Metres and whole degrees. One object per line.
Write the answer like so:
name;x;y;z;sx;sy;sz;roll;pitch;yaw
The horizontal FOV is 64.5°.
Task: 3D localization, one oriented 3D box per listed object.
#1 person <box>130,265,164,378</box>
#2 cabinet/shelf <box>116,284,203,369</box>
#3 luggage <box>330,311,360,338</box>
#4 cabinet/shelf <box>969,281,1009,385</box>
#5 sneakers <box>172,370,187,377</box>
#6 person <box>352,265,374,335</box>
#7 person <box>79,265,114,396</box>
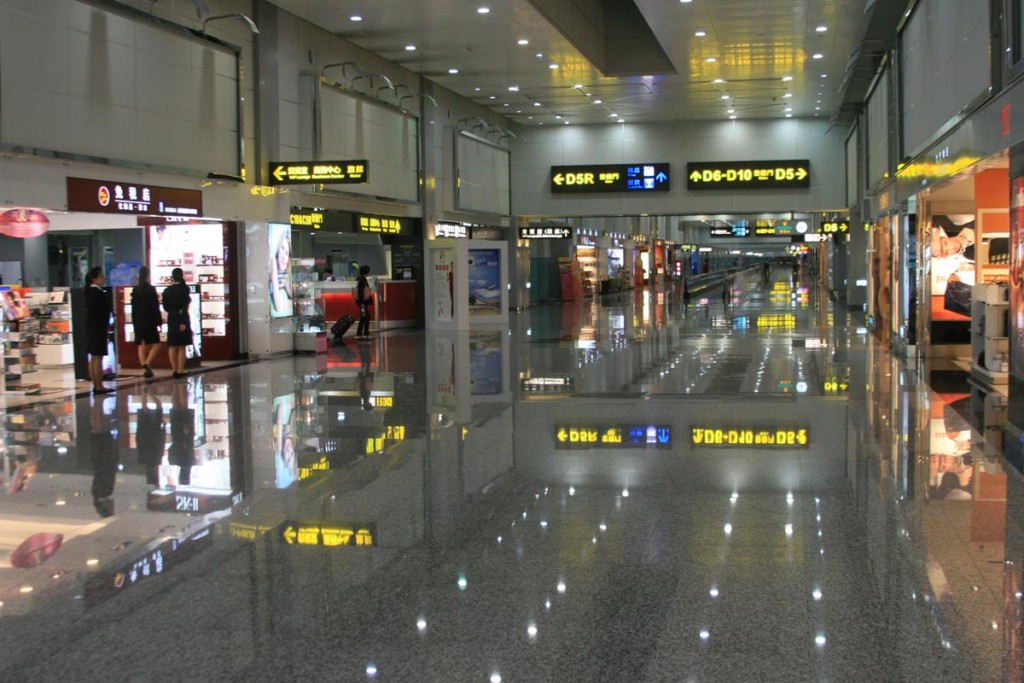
person;-5.810;-0.287;12.968;0.404;1.790;0.465;-5;7;-27
cabinet/shelf;-6.368;-0.150;14.788;0.850;1.622;1.460;-22;-15;40
luggage;-4.351;-0.366;20.719;0.522;0.645;0.949;-3;8;-13
cabinet/shelf;7.294;-0.159;12.214;0.606;1.502;1.593;-1;4;20
sneakers;-5.483;0.540;13.466;0.111;0.127;0.328;3;8;3
person;-3.806;-1.003;20.825;0.407;1.810;1.172;-2;7;-10
person;-6.186;-0.160;12.308;0.543;1.887;0.483;-3;-3;-34
